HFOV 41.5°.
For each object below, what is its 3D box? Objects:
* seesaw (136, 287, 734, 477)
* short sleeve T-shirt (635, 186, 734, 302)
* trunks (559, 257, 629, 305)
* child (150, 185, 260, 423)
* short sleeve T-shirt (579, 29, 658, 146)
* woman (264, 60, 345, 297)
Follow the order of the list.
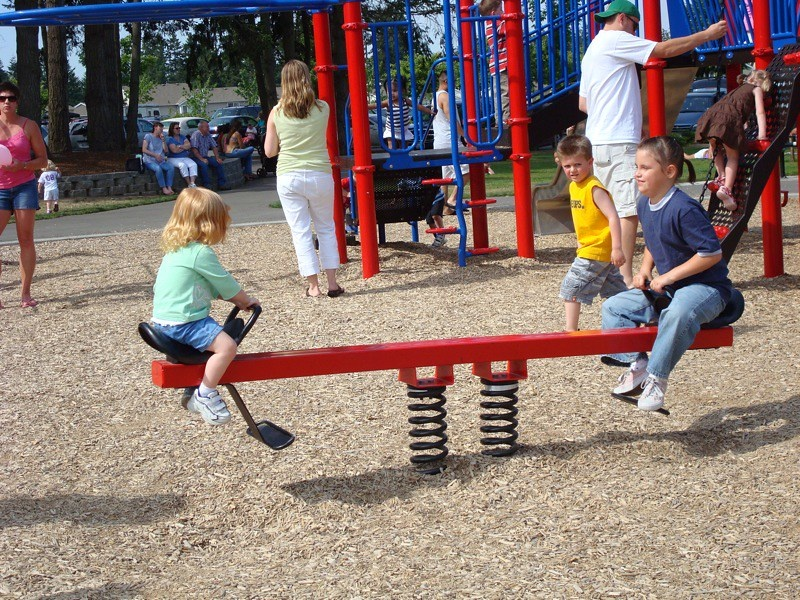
[{"bbox_3d":[0.201,0.347,5.967,3.146,1.014,1.178,-5,16,-15],"label":"seesaw"},{"bbox_3d":[1.528,-0.323,5.807,0.257,0.540,0.495,-24,22,-25],"label":"short sleeve T-shirt"},{"bbox_3d":[1.364,-0.120,7.073,0.485,0.268,0.176,-1,5,-16],"label":"trunks"},{"bbox_3d":[-0.989,0.028,5.489,0.444,1.167,0.475,-16,17,-41],"label":"child"},{"bbox_3d":[1.707,-1.689,8.486,0.476,0.821,0.925,-9,8,-23],"label":"short sleeve T-shirt"},{"bbox_3d":[-0.821,-0.982,8.845,0.548,1.981,0.399,-5,13,-2],"label":"woman"}]
